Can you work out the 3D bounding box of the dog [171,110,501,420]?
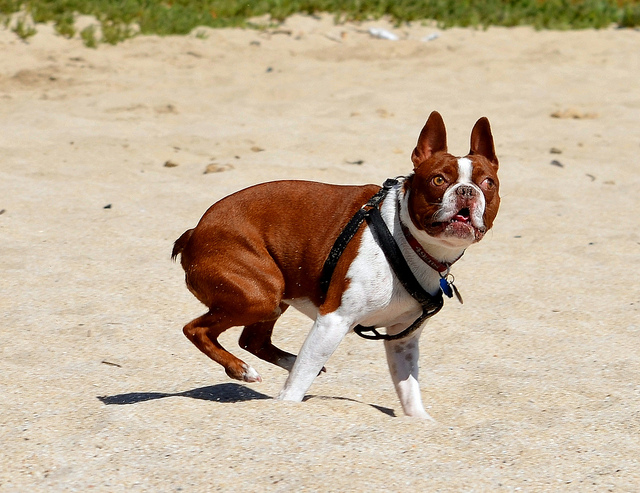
[{"bbox_3d":[0.075,0.270,5.984,2.067,2.172,1.348,-1,42,-2],"label":"dog"}]
